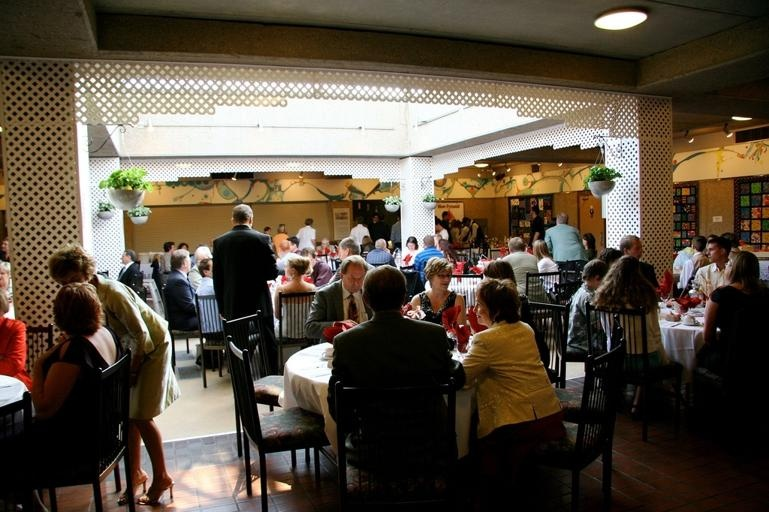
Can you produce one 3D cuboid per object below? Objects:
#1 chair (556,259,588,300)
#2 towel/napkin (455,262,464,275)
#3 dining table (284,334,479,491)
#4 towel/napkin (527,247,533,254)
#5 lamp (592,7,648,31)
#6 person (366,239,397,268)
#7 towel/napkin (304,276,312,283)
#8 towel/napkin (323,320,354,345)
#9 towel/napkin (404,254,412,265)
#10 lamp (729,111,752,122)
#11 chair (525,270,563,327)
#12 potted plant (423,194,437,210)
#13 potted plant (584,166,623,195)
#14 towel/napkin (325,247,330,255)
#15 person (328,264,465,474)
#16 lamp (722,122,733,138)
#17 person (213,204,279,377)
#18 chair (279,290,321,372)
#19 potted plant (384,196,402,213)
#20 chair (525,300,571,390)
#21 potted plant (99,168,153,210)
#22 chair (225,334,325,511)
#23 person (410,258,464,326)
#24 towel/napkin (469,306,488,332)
[{"bbox_3d":[2.409,0.299,7.663,0.370,0.568,0.385,-2,7,-3],"label":"chair"},{"bbox_3d":[1.126,0.183,9.118,0.173,0.175,0.169,-3,4,-26],"label":"towel/napkin"},{"bbox_3d":[-0.231,1.242,4.907,1.076,0.390,0.990,-5,7,-27],"label":"dining table"},{"bbox_3d":[2.971,-0.128,12.182,0.120,0.126,0.159,-9,2,26],"label":"towel/napkin"},{"bbox_3d":[2.564,-2.608,6.463,0.536,0.134,0.335,1,3,22],"label":"lamp"},{"bbox_3d":[-0.072,-0.061,10.454,0.487,0.404,1.137,-1,28,4],"label":"person"},{"bbox_3d":[-0.958,0.286,7.399,0.084,0.045,0.117,1,-2,-5],"label":"towel/napkin"},{"bbox_3d":[-0.342,0.566,4.465,0.149,0.089,0.272,-3,2,43],"label":"towel/napkin"},{"bbox_3d":[0.423,0.061,10.887,0.045,0.181,0.104,19,-13,-42],"label":"towel/napkin"},{"bbox_3d":[6.320,-2.512,10.563,0.310,0.072,0.311,1,4,15],"label":"lamp"},{"bbox_3d":[2.156,0.572,8.122,0.509,0.805,0.540,-1,9,4],"label":"chair"},{"bbox_3d":[1.057,-1.316,14.209,0.329,0.357,0.379,0,2,1],"label":"potted plant"},{"bbox_3d":[3.158,-1.051,8.577,0.568,0.499,0.548,2,-7,7],"label":"potted plant"},{"bbox_3d":[-1.289,-0.135,13.746,0.117,0.154,0.150,-2,2,-2],"label":"towel/napkin"},{"bbox_3d":[0.057,0.972,4.178,0.956,1.729,0.806,-3,1,-10],"label":"person"},{"bbox_3d":[7.105,-2.617,12.309,0.192,0.263,0.406,1,3,28],"label":"lamp"},{"bbox_3d":[-1.462,0.444,6.509,0.699,1.923,0.598,-3,7,0],"label":"person"},{"bbox_3d":[-1.078,0.869,6.888,0.525,0.902,0.568,1,2,-14],"label":"chair"},{"bbox_3d":[0.238,-1.305,14.616,0.451,0.444,0.411,1,5,-10],"label":"potted plant"},{"bbox_3d":[1.573,0.913,5.881,0.568,0.824,0.576,6,-9,-11],"label":"chair"},{"bbox_3d":[-3.604,-0.920,8.310,0.649,0.533,0.646,0,1,39],"label":"potted plant"},{"bbox_3d":[-0.865,1.312,4.778,0.742,1.325,0.866,-1,2,-15],"label":"chair"},{"bbox_3d":[0.467,0.455,5.422,0.566,0.852,0.484,3,-4,2],"label":"person"},{"bbox_3d":[0.697,0.485,4.565,0.177,0.194,0.174,-1,-2,-17],"label":"towel/napkin"}]
